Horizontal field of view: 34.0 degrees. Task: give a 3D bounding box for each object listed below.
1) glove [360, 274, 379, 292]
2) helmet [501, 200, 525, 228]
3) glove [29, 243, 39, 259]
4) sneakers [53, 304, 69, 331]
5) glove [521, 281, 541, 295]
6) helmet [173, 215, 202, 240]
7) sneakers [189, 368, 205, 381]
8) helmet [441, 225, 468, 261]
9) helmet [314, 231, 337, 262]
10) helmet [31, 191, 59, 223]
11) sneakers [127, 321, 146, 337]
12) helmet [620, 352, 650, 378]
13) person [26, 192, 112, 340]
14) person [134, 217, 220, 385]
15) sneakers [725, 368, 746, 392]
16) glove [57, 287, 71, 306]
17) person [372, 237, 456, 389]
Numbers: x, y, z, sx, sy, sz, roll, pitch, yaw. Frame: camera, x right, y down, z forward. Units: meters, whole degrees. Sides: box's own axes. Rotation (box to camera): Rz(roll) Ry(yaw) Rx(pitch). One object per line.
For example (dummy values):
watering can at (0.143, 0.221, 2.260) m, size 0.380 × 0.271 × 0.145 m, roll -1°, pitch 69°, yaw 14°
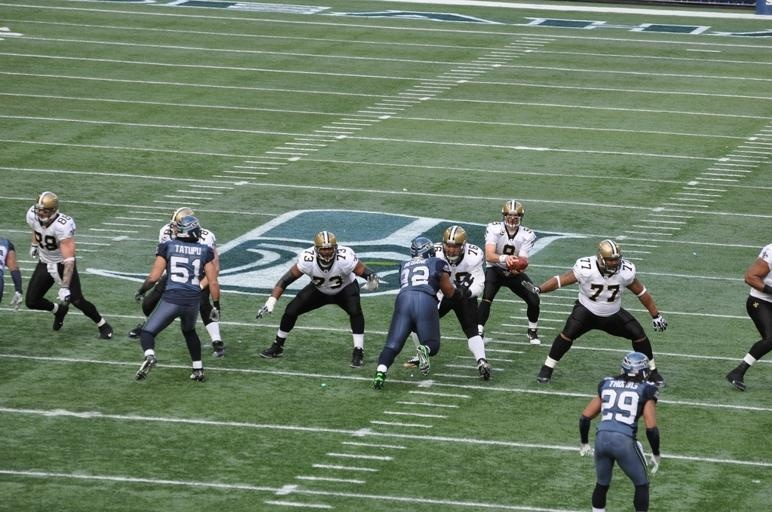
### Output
glove at (-0.169, 0.353, 16.446) m, size 0.265 × 0.167 × 0.307 m, roll 30°, pitch -11°, yaw -5°
helmet at (1.757, -0.582, 17.523) m, size 0.445 × 0.288 × 0.446 m, roll 0°, pitch 6°, yaw 4°
glove at (-4.949, -0.050, 17.750) m, size 0.143 × 0.240 × 0.157 m, roll 17°, pitch 42°, yaw 3°
sneakers at (-4.455, 0.833, 17.219) m, size 0.217 × 0.438 × 0.220 m, roll 13°, pitch 18°, yaw -17°
glove at (1.922, 0.434, 16.336) m, size 0.151 × 0.090 × 0.322 m, roll -27°, pitch -27°, yaw 24°
helmet at (-2.483, -0.357, 16.016) m, size 0.438 × 0.265 × 0.263 m, roll -17°, pitch 20°, yaw 1°
sneakers at (-2.377, 1.516, 15.935) m, size 0.125 × 0.134 × 0.257 m, roll -4°, pitch 12°, yaw -22°
helmet at (0.831, -0.157, 16.594) m, size 0.451 × 0.350 × 0.470 m, roll 6°, pitch 12°, yaw -3°
helmet at (-0.772, -0.115, 16.261) m, size 0.370 × 0.269 × 0.379 m, roll -2°, pitch 11°, yaw -4°
helmet at (-4.512, -0.620, 16.829) m, size 0.323 × 0.412 × 0.230 m, roll -9°, pitch 19°, yaw -34°
sneakers at (-3.348, 0.999, 16.909) m, size 0.152 × 0.144 × 0.357 m, roll 31°, pitch 24°, yaw 9°
helmet at (2.742, 1.173, 13.531) m, size 0.303 × 0.225 × 0.328 m, roll 3°, pitch 17°, yaw 22°
person at (-4.346, 0.128, 17.030) m, size 1.047 × 1.963 × 0.970 m, roll -4°, pitch 17°, yaw -18°
person at (-2.625, 0.562, 15.885) m, size 0.988 × 2.057 × 1.041 m, roll 0°, pitch 16°, yaw -5°
sneakers at (4.457, 1.583, 16.015) m, size 0.254 × 0.256 × 0.210 m, roll 4°, pitch 15°, yaw 10°
glove at (-4.295, 0.549, 16.864) m, size 0.162 × 0.287 × 0.322 m, roll -2°, pitch 14°, yaw -13°
person at (0.400, 0.765, 16.077) m, size 0.864 × 1.801 × 1.272 m, roll 5°, pitch 15°, yaw 11°
